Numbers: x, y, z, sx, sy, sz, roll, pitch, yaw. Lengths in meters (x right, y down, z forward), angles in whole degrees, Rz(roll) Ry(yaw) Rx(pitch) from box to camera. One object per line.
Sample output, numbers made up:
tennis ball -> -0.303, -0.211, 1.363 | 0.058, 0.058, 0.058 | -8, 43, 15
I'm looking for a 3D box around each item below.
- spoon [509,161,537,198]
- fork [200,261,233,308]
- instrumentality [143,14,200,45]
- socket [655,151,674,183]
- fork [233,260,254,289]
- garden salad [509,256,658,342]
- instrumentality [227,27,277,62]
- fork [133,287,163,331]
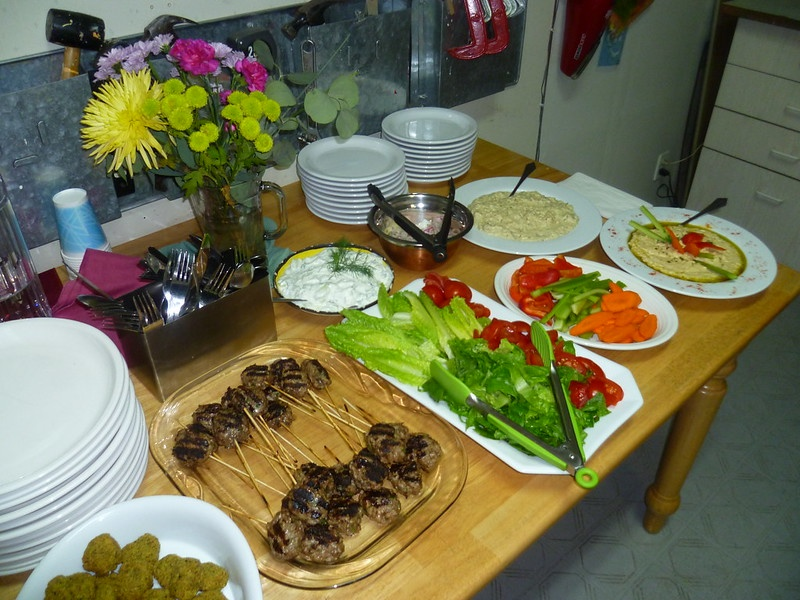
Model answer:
spoon -> 0.460, -0.444, 2.150 | 0.041, 0.032, 0.230 | 34, 59, 10
fork -> -0.448, -0.035, 1.401 | 0.055, 0.017, 0.116 | 19, 63, 4
instrumentality -> -0.658, -0.793, 1.658 | 0.181, 0.053, 0.137 | -22, 40, -26
socket -> 1.879, -0.955, 4.097 | 0.075, 0.147, 0.151 | 20, 59, 34
fork -> -0.389, -0.060, 1.419 | 0.055, 0.060, 0.015 | -11, 28, -34
garden salad -> 0.543, 0.030, 1.746 | 0.477, 0.488, 0.148 | 2, 69, 45
instrumentality -> -0.454, -0.772, 1.780 | 0.157, 0.099, 0.191 | -10, 36, -12
fork -> -0.593, 0.016, 1.360 | 0.046, 0.032, 0.169 | 9, 29, -13
